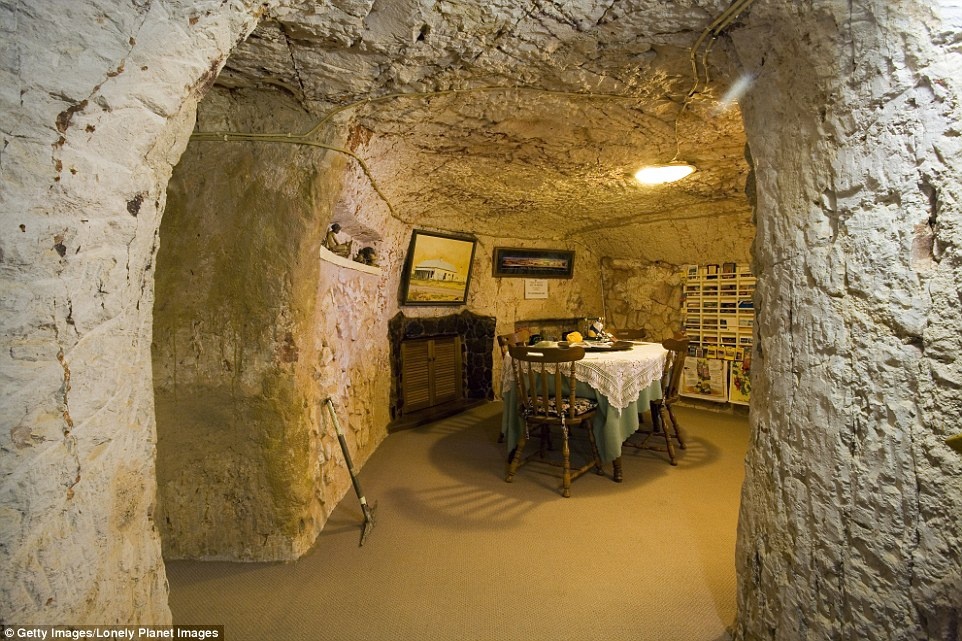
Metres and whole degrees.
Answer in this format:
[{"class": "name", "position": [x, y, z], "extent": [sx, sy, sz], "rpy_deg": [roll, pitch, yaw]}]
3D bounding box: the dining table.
[{"class": "dining table", "position": [0.763, 0.490, 3.515], "extent": [0.610, 0.403, 1.010], "rpy_deg": [2, 9, 34]}]

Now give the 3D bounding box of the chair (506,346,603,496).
[{"class": "chair", "position": [0.433, 0.513, 3.540], "extent": [0.552, 0.887, 1.021], "rpy_deg": [0, 12, 4]}]
